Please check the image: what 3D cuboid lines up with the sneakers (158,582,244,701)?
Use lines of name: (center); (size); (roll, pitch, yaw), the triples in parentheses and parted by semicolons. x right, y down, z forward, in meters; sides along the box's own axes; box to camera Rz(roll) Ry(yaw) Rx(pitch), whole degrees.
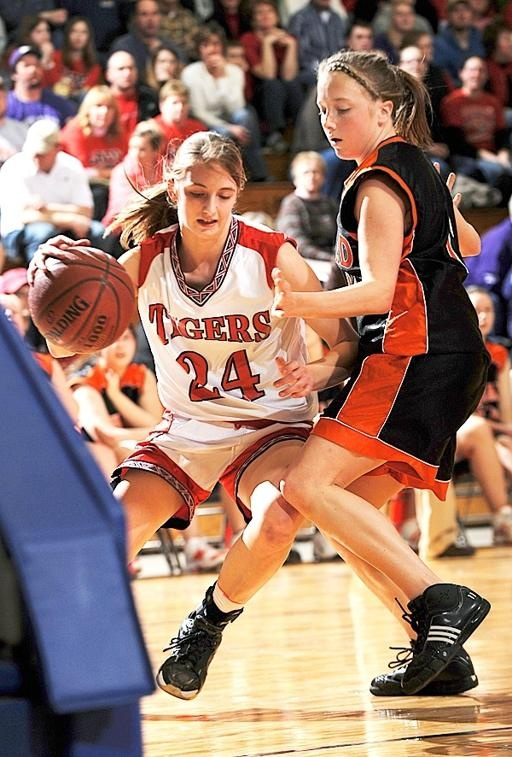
sneakers: (-0.090, 0.599, 1.701); (0.123, 0.159, 0.340); (33, 13, -2)
